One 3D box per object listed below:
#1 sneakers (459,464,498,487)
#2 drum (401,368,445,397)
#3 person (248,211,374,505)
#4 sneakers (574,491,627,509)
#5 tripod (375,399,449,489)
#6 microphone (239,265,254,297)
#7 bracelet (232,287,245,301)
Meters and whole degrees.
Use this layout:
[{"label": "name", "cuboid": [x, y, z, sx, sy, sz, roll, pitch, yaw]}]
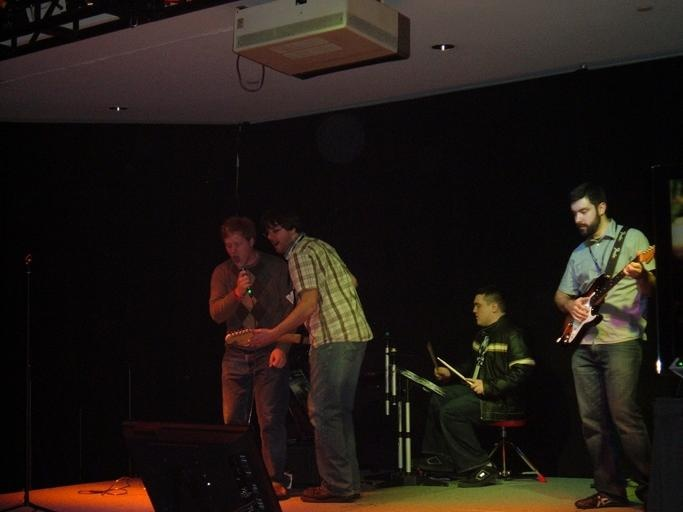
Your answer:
[{"label": "sneakers", "cuboid": [1.123, 1.812, 5.400, 0.354, 0.185, 0.144, 2, -9, -15]}, {"label": "drum", "cuboid": [0.687, 1.080, 5.529, 0.347, 0.257, 0.835, -6, -9, 9]}, {"label": "person", "cuboid": [-0.155, 0.747, 4.888, 0.763, 2.189, 0.369, -4, -7, -4]}, {"label": "sneakers", "cuboid": [1.830, 1.737, 4.667, 0.342, 0.139, 0.140, 1, -11, 7]}, {"label": "tripod", "cuboid": [0.512, 1.650, 5.775, 0.541, 0.796, 0.773, 0, -13, -4]}, {"label": "microphone", "cuboid": [-0.773, 0.216, 5.335, 0.143, 0.218, 0.050, 7, -1, 19]}, {"label": "bracelet", "cuboid": [-0.817, 0.305, 5.183, 0.089, 0.097, 0.094, 12, -10, -3]}]
